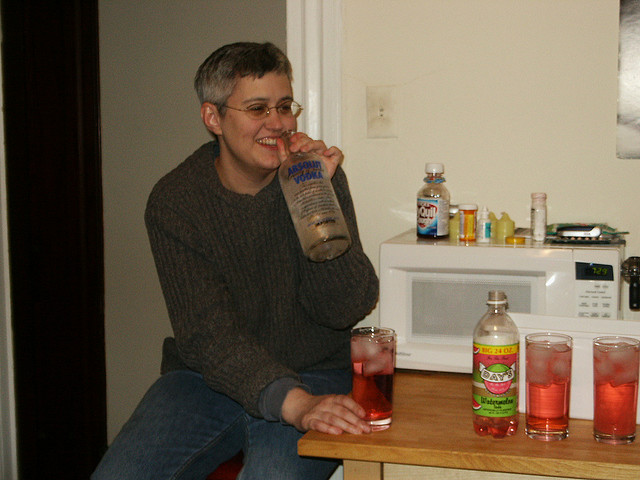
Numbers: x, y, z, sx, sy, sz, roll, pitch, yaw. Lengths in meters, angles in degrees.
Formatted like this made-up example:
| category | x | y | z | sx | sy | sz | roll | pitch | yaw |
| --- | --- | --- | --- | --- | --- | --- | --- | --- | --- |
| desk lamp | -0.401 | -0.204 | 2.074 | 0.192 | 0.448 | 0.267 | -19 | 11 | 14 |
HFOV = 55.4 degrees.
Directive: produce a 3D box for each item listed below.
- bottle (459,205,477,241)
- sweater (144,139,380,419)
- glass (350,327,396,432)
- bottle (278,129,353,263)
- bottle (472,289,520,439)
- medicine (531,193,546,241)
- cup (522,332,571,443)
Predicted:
| category | x | y | z | sx | sy | sz | roll | pitch | yaw |
| --- | --- | --- | --- | --- | --- | --- | --- | --- | --- |
| bottle | 0.408 | -0.050 | 1.668 | 0.061 | 0.107 | 0.064 | -3 | 10 | 0 |
| sweater | -0.195 | 0.058 | 1.817 | 0.554 | 0.721 | 0.693 | -6 | 6 | -26 |
| glass | 0.122 | 0.294 | 1.325 | 0.088 | 0.202 | 0.096 | 0 | 0 | 30 |
| bottle | -0.039 | -0.140 | 1.513 | 0.128 | 0.384 | 0.123 | -16 | -26 | -8 |
| bottle | 0.366 | 0.248 | 1.270 | 0.094 | 0.294 | 0.115 | 0 | 9 | 18 |
| medicine | 0.579 | -0.063 | 1.627 | 0.045 | 0.133 | 0.045 | -4 | 5 | -2 |
| cup | 0.461 | 0.302 | 1.227 | 0.083 | 0.197 | 0.052 | 0 | 9 | 15 |
